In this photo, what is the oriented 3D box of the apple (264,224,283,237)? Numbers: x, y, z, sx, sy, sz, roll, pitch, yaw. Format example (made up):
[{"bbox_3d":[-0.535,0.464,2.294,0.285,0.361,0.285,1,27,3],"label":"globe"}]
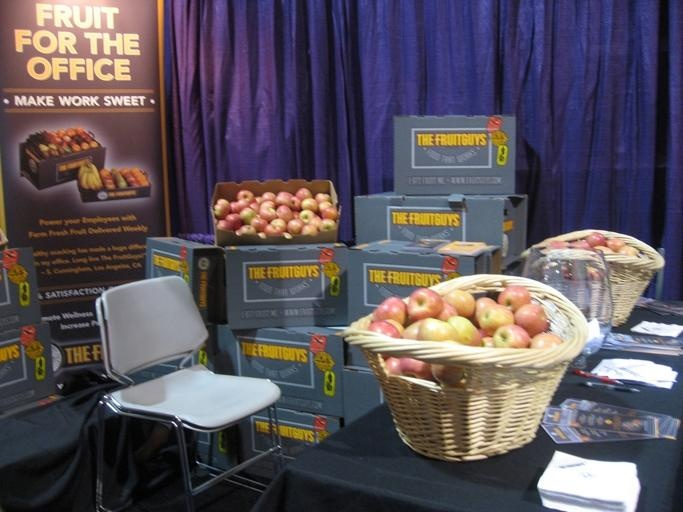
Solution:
[{"bbox_3d":[-0.308,-0.121,2.411,0.057,0.061,0.060,3,21,4],"label":"apple"}]

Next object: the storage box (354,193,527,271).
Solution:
[{"bbox_3d":[0.444,-0.125,2.425,0.688,0.361,0.533,4,10,31],"label":"storage box"}]

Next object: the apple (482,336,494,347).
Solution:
[{"bbox_3d":[0.338,0.199,1.271,0.018,0.018,0.018,14,-30,-20],"label":"apple"}]

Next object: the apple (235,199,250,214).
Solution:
[{"bbox_3d":[-0.466,-0.228,2.524,0.050,0.067,0.054,9,-13,26],"label":"apple"}]

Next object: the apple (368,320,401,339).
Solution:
[{"bbox_3d":[0.100,0.160,1.228,0.043,0.045,0.044,-9,20,-29],"label":"apple"}]

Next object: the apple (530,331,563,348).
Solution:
[{"bbox_3d":[0.463,0.194,1.247,0.049,0.043,0.043,-24,-43,29],"label":"apple"}]

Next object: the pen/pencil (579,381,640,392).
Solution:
[{"bbox_3d":[0.698,0.340,1.429,0.111,0.013,0.013,3,8,13],"label":"pen/pencil"}]

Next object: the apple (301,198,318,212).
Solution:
[{"bbox_3d":[-0.152,-0.236,2.567,0.067,0.062,0.059,-11,12,-27],"label":"apple"}]

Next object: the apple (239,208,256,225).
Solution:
[{"bbox_3d":[-0.431,-0.180,2.493,0.070,0.072,0.066,1,17,34],"label":"apple"}]

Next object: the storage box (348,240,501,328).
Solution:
[{"bbox_3d":[0.248,0.206,2.034,0.518,0.341,0.293,3,-34,-2],"label":"storage box"}]

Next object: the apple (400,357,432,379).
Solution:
[{"bbox_3d":[0.160,0.246,1.216,0.054,0.047,0.046,24,3,-22],"label":"apple"}]

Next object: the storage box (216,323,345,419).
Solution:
[{"bbox_3d":[-0.218,0.459,2.555,0.611,0.344,0.457,3,8,19],"label":"storage box"}]

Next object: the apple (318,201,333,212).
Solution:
[{"bbox_3d":[-0.078,-0.238,2.556,0.045,0.047,0.054,-23,20,-20],"label":"apple"}]

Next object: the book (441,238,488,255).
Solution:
[{"bbox_3d":[0.447,-0.032,1.974,0.173,0.019,0.271,-1,11,21],"label":"book"}]

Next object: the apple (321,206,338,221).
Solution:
[{"bbox_3d":[-0.060,-0.192,2.522,0.092,0.062,0.053,-4,11,8],"label":"apple"}]

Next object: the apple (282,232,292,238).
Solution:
[{"bbox_3d":[-0.237,-0.088,2.394,0.041,0.026,0.063,-7,11,-6],"label":"apple"}]

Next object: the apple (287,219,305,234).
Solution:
[{"bbox_3d":[-0.209,-0.129,2.466,0.060,0.070,0.061,3,-6,-26],"label":"apple"}]

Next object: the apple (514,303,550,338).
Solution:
[{"bbox_3d":[0.458,0.155,1.335,0.076,0.092,0.079,-8,4,-3],"label":"apple"}]

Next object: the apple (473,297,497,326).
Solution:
[{"bbox_3d":[0.344,0.135,1.336,0.055,0.073,0.060,-6,-1,27],"label":"apple"}]

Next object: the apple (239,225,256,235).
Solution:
[{"bbox_3d":[-0.423,-0.111,2.426,0.050,0.053,0.049,7,-1,-17],"label":"apple"}]

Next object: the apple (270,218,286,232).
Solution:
[{"bbox_3d":[-0.284,-0.138,2.458,0.056,0.059,0.059,-25,-40,13],"label":"apple"}]

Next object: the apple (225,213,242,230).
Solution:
[{"bbox_3d":[-0.486,-0.153,2.474,0.062,0.066,0.067,-21,-7,-24],"label":"apple"}]

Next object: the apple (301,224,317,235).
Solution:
[{"bbox_3d":[-0.146,-0.113,2.422,0.047,0.047,0.048,-12,0,-34],"label":"apple"}]

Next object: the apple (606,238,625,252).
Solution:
[{"bbox_3d":[0.980,-0.043,1.974,0.054,0.045,0.042,18,45,34],"label":"apple"}]

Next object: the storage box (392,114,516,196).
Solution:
[{"bbox_3d":[0.461,-0.426,2.282,0.560,0.383,0.313,0,5,8],"label":"storage box"}]

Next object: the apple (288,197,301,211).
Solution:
[{"bbox_3d":[-0.223,-0.236,2.619,0.054,0.057,0.060,-25,-34,27],"label":"apple"}]

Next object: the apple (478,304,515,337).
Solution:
[{"bbox_3d":[0.364,0.148,1.304,0.081,0.072,0.071,4,-35,-12],"label":"apple"}]

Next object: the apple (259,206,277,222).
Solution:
[{"bbox_3d":[-0.338,-0.192,2.496,0.066,0.069,0.069,2,9,-7],"label":"apple"}]

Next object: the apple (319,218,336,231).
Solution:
[{"bbox_3d":[-0.067,-0.139,2.471,0.074,0.042,0.091,-4,11,7],"label":"apple"}]

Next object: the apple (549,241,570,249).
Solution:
[{"bbox_3d":[0.726,-0.037,1.840,0.034,0.020,0.036,-6,6,-19],"label":"apple"}]

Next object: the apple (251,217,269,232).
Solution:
[{"bbox_3d":[-0.373,-0.141,2.473,0.061,0.063,0.062,-1,6,-32],"label":"apple"}]

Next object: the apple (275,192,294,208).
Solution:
[{"bbox_3d":[-0.274,-0.265,2.582,0.068,0.071,0.067,0,-32,-24],"label":"apple"}]

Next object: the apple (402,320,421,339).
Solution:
[{"bbox_3d":[0.161,0.175,1.269,0.037,0.043,0.040,10,31,15],"label":"apple"}]

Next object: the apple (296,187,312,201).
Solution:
[{"bbox_3d":[-0.184,-0.287,2.634,0.059,0.062,0.061,6,8,-41],"label":"apple"}]

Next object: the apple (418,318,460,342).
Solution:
[{"bbox_3d":[0.204,0.163,1.189,0.056,0.058,0.055,-4,-5,-8],"label":"apple"}]

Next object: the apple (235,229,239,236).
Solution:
[{"bbox_3d":[-0.465,-0.101,2.426,0.022,0.017,0.023,-5,7,-22],"label":"apple"}]

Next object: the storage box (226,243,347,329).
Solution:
[{"bbox_3d":[-0.247,0.100,2.448,0.539,0.362,0.326,0,17,0],"label":"storage box"}]

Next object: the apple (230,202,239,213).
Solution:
[{"bbox_3d":[-0.499,-0.223,2.530,0.043,0.045,0.043,21,-9,-35],"label":"apple"}]

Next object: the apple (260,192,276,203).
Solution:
[{"bbox_3d":[-0.348,-0.270,2.570,0.059,0.058,0.058,-7,8,-29],"label":"apple"}]

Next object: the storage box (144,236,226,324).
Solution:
[{"bbox_3d":[-0.848,0.110,2.702,0.137,0.360,0.393,11,-2,2],"label":"storage box"}]

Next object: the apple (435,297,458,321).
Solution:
[{"bbox_3d":[0.251,0.131,1.317,0.041,0.049,0.040,-29,-31,36],"label":"apple"}]

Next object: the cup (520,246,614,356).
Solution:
[{"bbox_3d":[0.607,0.107,1.565,0.259,0.266,0.264,1,6,0],"label":"cup"}]

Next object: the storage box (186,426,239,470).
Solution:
[{"bbox_3d":[-0.586,0.881,2.580,0.201,0.219,0.131,-4,0,33],"label":"storage box"}]

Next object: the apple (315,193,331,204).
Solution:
[{"bbox_3d":[-0.090,-0.268,2.615,0.054,0.056,0.054,4,12,-41],"label":"apple"}]

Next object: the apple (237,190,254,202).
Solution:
[{"bbox_3d":[-0.454,-0.279,2.579,0.057,0.060,0.058,-21,-7,-3],"label":"apple"}]

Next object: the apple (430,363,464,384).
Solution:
[{"bbox_3d":[0.221,0.247,1.141,0.059,0.053,0.051,8,-15,1],"label":"apple"}]
